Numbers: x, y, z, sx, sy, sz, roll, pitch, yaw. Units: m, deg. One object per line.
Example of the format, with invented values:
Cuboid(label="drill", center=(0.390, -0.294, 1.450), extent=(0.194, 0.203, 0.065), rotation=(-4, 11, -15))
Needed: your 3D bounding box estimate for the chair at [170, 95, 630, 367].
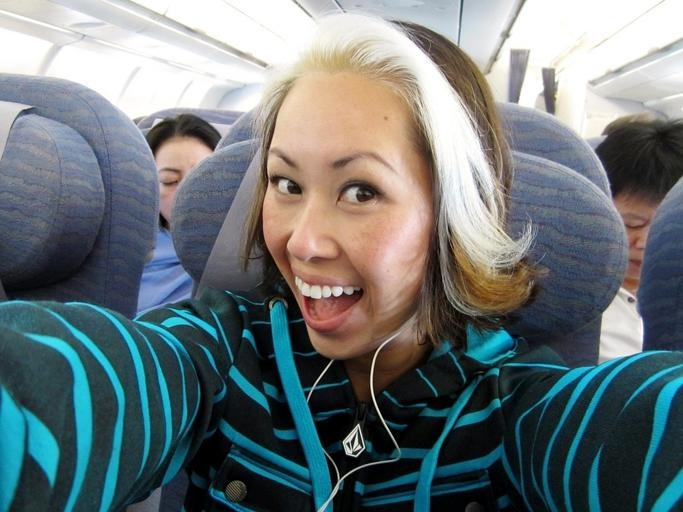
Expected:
Cuboid(label="chair", center=(0.165, -0.083, 1.485), extent=(0.827, 0.774, 0.701), rotation=(6, -13, 9))
